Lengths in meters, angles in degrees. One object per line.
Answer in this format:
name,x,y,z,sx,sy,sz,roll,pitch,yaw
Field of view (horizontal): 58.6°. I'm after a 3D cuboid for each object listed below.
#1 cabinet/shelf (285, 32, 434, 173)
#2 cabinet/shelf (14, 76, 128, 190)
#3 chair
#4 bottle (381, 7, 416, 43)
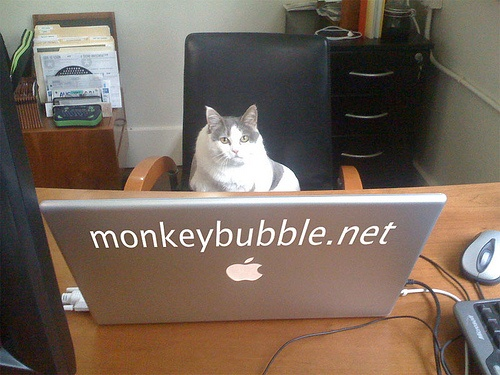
cabinet/shelf,0.521,-0.488,2.269,0.587,0.859,0.572,-1,40,3
cabinet/shelf,-0.846,-0.208,2.176,0.401,0.644,0.371,-5,33,-6
chair,0.008,-0.237,1.581,0.515,0.748,0.604,0,22,0
bottle,0.676,-0.747,2.035,0.164,0.124,0.130,1,42,3
